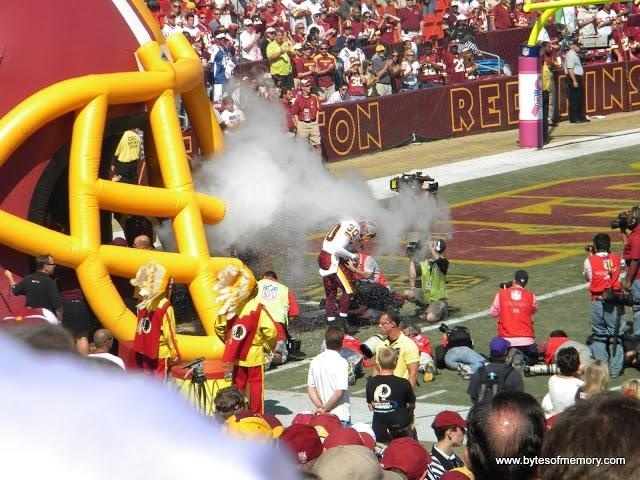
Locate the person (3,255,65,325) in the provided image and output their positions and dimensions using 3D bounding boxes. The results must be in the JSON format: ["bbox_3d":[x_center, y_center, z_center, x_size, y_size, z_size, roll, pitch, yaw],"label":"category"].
[{"bbox_3d":[-3.146,0.522,11.910,0.602,0.832,0.266,12,31,11],"label":"person"}]

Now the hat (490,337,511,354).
[{"bbox_3d":[1.923,1.164,11.697,0.133,0.111,0.214,7,38,25],"label":"hat"}]

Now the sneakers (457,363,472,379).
[{"bbox_3d":[1.751,1.579,13.133,0.142,0.164,0.135,31,18,-17],"label":"sneakers"}]

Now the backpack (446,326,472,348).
[{"bbox_3d":[1.737,1.161,13.468,0.317,0.233,0.416,3,25,8],"label":"backpack"}]

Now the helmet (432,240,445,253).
[{"bbox_3d":[1.687,0.098,15.413,0.184,0.193,0.164,4,-3,5],"label":"helmet"}]

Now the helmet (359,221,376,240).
[{"bbox_3d":[0.690,-0.145,15.437,0.238,0.278,0.341,-2,-5,1],"label":"helmet"}]

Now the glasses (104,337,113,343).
[{"bbox_3d":[-2.205,1.040,11.374,0.067,0.100,0.077,8,-2,20],"label":"glasses"}]

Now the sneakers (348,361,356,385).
[{"bbox_3d":[0.388,1.604,13.169,0.072,0.282,0.159,-2,-5,3],"label":"sneakers"}]

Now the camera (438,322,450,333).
[{"bbox_3d":[1.619,1.133,13.992,0.178,0.129,0.103,22,-16,-41],"label":"camera"}]

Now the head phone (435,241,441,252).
[{"bbox_3d":[1.672,0.090,15.331,0.046,0.125,0.090,3,0,-6],"label":"head phone"}]

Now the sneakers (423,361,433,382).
[{"bbox_3d":[1.320,1.594,13.140,0.139,0.205,0.077,7,-3,44],"label":"sneakers"}]
